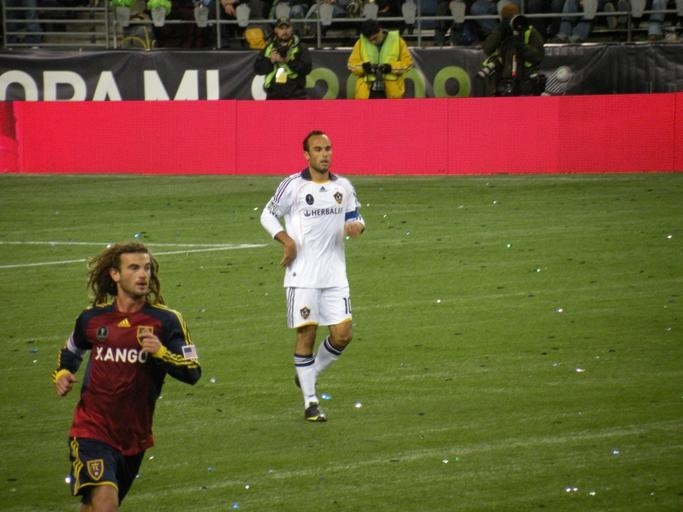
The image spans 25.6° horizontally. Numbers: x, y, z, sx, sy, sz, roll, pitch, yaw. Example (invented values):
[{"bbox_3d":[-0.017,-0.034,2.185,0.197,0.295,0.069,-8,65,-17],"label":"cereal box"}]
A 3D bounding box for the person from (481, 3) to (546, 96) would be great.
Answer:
[{"bbox_3d":[3.762,-4.397,32.625,1.330,1.752,0.600,9,14,35],"label":"person"}]

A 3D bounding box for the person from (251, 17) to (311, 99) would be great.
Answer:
[{"bbox_3d":[-1.331,-4.368,33.113,1.252,1.738,0.605,9,14,34],"label":"person"}]

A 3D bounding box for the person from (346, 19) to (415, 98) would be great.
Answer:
[{"bbox_3d":[0.865,-4.319,32.872,1.385,1.735,0.973,1,12,1],"label":"person"}]

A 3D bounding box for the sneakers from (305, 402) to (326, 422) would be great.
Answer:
[{"bbox_3d":[-0.360,2.126,20.699,0.316,0.238,0.236,1,12,-2],"label":"sneakers"}]

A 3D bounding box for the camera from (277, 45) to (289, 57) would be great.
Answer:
[{"bbox_3d":[-1.294,-4.502,32.885,0.282,0.396,0.214,0,3,-7],"label":"camera"}]

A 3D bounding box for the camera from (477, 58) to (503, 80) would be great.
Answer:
[{"bbox_3d":[3.269,-4.122,32.932,0.362,0.520,0.206,20,47,4],"label":"camera"}]

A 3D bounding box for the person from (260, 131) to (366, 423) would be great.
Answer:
[{"bbox_3d":[-0.382,0.216,20.913,1.272,3.823,1.114,1,12,0],"label":"person"}]

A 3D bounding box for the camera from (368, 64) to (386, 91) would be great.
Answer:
[{"bbox_3d":[0.795,-3.912,32.735,0.275,0.579,0.251,1,12,1],"label":"camera"}]
